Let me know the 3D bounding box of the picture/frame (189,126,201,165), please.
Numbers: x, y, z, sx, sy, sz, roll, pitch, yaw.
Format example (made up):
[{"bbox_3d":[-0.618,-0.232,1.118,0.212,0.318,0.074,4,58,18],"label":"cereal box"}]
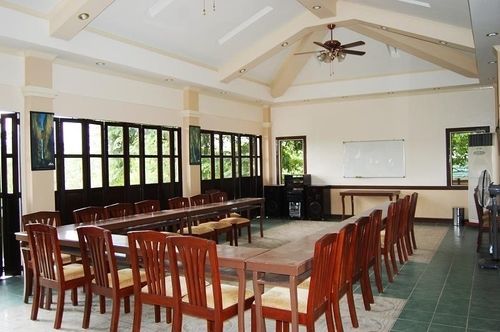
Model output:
[{"bbox_3d":[-1.490,-0.544,9.267,0.096,1.055,0.452,1,5,30],"label":"picture/frame"}]

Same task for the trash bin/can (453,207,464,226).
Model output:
[{"bbox_3d":[5.835,1.403,9.718,0.270,0.495,0.443,1,5,29],"label":"trash bin/can"}]

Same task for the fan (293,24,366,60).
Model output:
[{"bbox_3d":[1.998,-3.122,8.633,1.370,0.704,1.480,0,3,17],"label":"fan"}]

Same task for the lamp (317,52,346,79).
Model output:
[{"bbox_3d":[1.786,-2.225,7.550,0.486,0.434,0.479,4,9,20],"label":"lamp"}]

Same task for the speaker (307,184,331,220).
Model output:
[{"bbox_3d":[2.228,1.207,11.319,0.796,1.032,0.798,1,-5,-29],"label":"speaker"}]

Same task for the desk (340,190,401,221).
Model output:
[{"bbox_3d":[3.648,1.209,10.567,1.547,0.900,0.816,-2,3,38],"label":"desk"}]

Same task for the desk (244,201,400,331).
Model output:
[{"bbox_3d":[0.826,1.318,4.655,0.602,0.839,2.397,1,5,32],"label":"desk"}]

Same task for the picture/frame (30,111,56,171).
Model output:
[{"bbox_3d":[-3.840,-0.452,6.411,0.427,1.084,0.148,-5,6,-40],"label":"picture/frame"}]
